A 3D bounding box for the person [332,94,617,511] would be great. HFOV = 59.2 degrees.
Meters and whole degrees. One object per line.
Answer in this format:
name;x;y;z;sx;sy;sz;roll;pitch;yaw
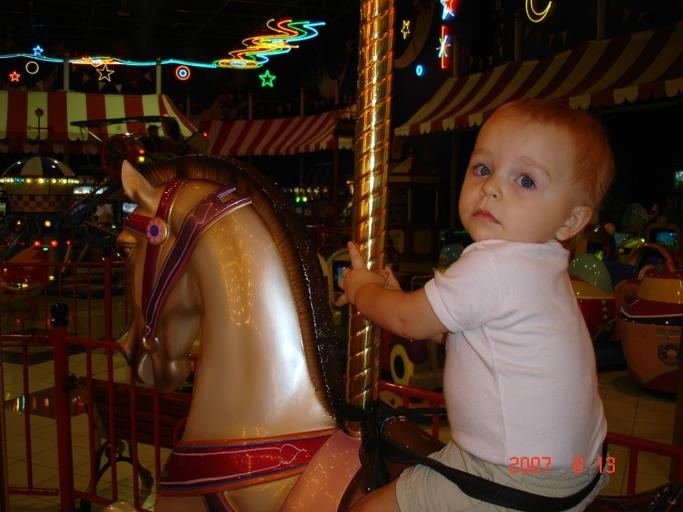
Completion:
person;0.556;0.096;2.262;0.970;1.677;0.794;3;4;28
